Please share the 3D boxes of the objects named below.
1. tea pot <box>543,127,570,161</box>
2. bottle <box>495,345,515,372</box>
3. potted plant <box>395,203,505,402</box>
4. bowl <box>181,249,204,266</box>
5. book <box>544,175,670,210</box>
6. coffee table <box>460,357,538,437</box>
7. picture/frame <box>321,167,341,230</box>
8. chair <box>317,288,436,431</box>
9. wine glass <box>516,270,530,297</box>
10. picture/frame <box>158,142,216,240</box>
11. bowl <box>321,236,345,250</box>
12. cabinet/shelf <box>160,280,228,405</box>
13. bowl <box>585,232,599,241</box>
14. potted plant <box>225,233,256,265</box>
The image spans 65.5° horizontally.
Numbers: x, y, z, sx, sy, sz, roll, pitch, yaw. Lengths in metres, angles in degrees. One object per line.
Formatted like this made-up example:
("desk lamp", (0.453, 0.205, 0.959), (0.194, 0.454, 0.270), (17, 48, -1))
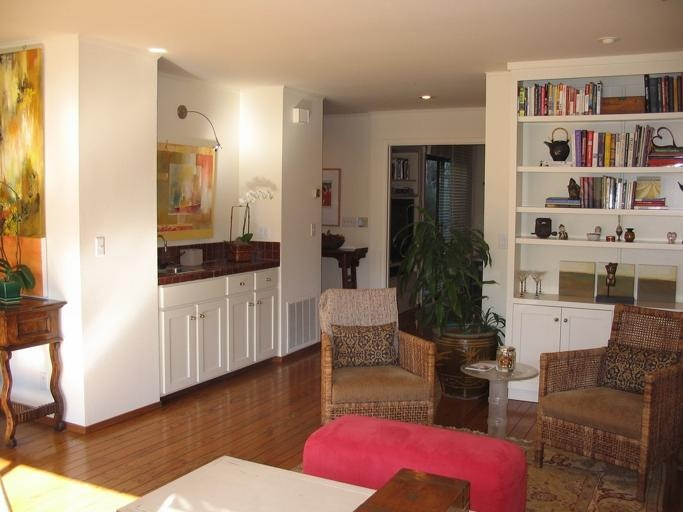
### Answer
("tea pot", (2.005, -1.020, 4.937), (0.260, 0.314, 0.190), (0, 3, 41))
("bottle", (1.131, 0.717, 3.713), (0.159, 0.162, 0.127), (0, 2, 17))
("potted plant", (1.079, 0.490, 5.200), (0.935, 1.637, 0.942), (-1, 5, 1))
("bowl", (-1.554, 0.012, 5.514), (0.170, 0.137, 0.178), (-1, 4, 0))
("book", (2.378, -0.566, 4.779), (0.962, 0.282, 0.383), (4, 8, 27))
("coffee table", (1.092, 1.081, 3.723), (0.481, 0.535, 0.482), (4, -5, -12))
("picture/frame", (-0.147, -0.863, 7.893), (0.308, 0.876, 0.058), (3, 7, 25))
("chair", (0.245, 0.758, 4.173), (0.828, 0.908, 0.857), (0, 7, -4))
("wine glass", (1.717, 0.274, 5.072), (0.191, 0.235, 0.200), (0, -1, 6))
("picture/frame", (-1.642, -0.672, 5.548), (0.081, 0.963, 0.974), (6, 7, 21))
("bowl", (-0.131, -0.178, 7.323), (0.224, 0.124, 0.199), (-7, -1, 11))
("cabinet/shelf", (-1.585, 0.675, 5.128), (0.893, 1.049, 0.832), (-3, 11, -31))
("bowl", (2.284, -0.171, 4.850), (0.085, 0.043, 0.085), (0, -1, 0))
("potted plant", (-1.089, -0.072, 5.794), (0.232, 0.345, 0.331), (-1, -2, 38))
